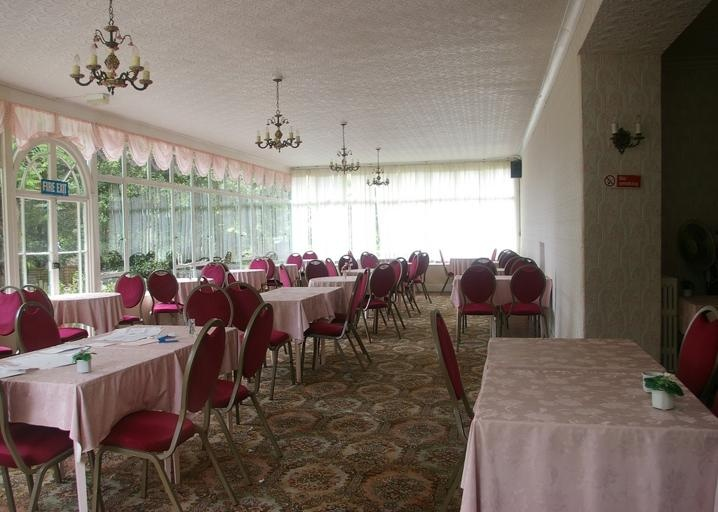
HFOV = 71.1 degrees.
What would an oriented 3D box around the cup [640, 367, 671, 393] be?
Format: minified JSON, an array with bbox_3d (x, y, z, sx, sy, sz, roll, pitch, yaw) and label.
[{"bbox_3d":[1.551,0.652,2.626,0.125,0.061,0.148,1,0,32],"label":"cup"}]

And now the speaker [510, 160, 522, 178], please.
[{"bbox_3d":[3.885,-2.151,12.462,0.259,0.417,0.380,2,9,16],"label":"speaker"}]

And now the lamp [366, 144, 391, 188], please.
[{"bbox_3d":[0.500,-2.138,13.069,0.763,1.068,0.757,1,-5,-2],"label":"lamp"}]

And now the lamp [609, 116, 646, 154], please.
[{"bbox_3d":[2.569,-1.124,4.863,0.338,0.374,0.278,-1,-1,-11],"label":"lamp"}]
